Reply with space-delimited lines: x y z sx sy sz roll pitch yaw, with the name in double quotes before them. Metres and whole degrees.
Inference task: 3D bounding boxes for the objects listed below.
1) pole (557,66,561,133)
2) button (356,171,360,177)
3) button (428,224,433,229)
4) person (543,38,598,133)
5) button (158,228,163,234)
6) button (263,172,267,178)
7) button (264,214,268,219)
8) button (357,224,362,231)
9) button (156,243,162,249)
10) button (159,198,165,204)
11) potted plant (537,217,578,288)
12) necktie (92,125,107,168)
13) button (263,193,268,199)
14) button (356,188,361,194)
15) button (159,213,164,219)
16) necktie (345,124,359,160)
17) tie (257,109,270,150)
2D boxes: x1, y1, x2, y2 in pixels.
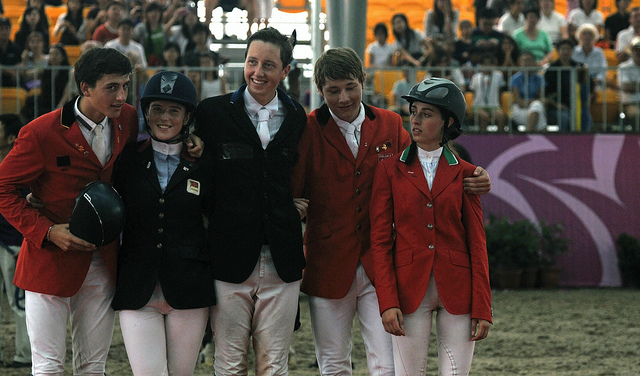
"pole" 3.988 -1.502 18.241 0.059 1.024 0.130 0 -1 12
"button" 0.457 -0.176 13.552 0.040 0.054 0.006 0 -1 -8
"button" 1.333 0.471 13.242 0.035 0.051 0.044 0 -46 -6
"person" 4.155 -1.691 18.335 0.688 1.510 0.754 1 -1 -39
"button" -1.963 0.526 13.306 0.049 0.056 0.012 2 -8 3
"button" -0.693 -0.157 13.412 0.064 0.073 0.016 0 -3 -6
"button" -0.677 0.352 13.385 0.040 0.043 0.009 -22 -4 -23
"button" 0.475 0.498 13.515 0.047 0.070 0.011 0 -1 1
"button" -1.980 0.709 13.299 0.050 0.057 0.012 1 -6 1
"button" -1.952 0.164 13.314 0.055 0.063 0.015 2 -6 1
"potted plant" 3.430 0.973 15.766 0.584 1.069 0.545 8 -21 1
"necktie" -2.729 -0.521 13.422 0.174 0.501 0.031 0 -1 -13
"button" -0.690 0.100 13.400 0.052 0.059 0.013 0 2 -1
"button" 0.463 0.044 13.540 0.057 0.065 0.014 0 -3 -3
"button" -1.953 0.344 13.303 0.050 0.058 0.013 0 -3 -1
"necktie" 0.388 -0.583 13.636 0.114 0.471 0.117 -4 -17 -24
"tie" -0.701 -0.725 13.563 0.127 0.503 0.129 0 -7 -8
